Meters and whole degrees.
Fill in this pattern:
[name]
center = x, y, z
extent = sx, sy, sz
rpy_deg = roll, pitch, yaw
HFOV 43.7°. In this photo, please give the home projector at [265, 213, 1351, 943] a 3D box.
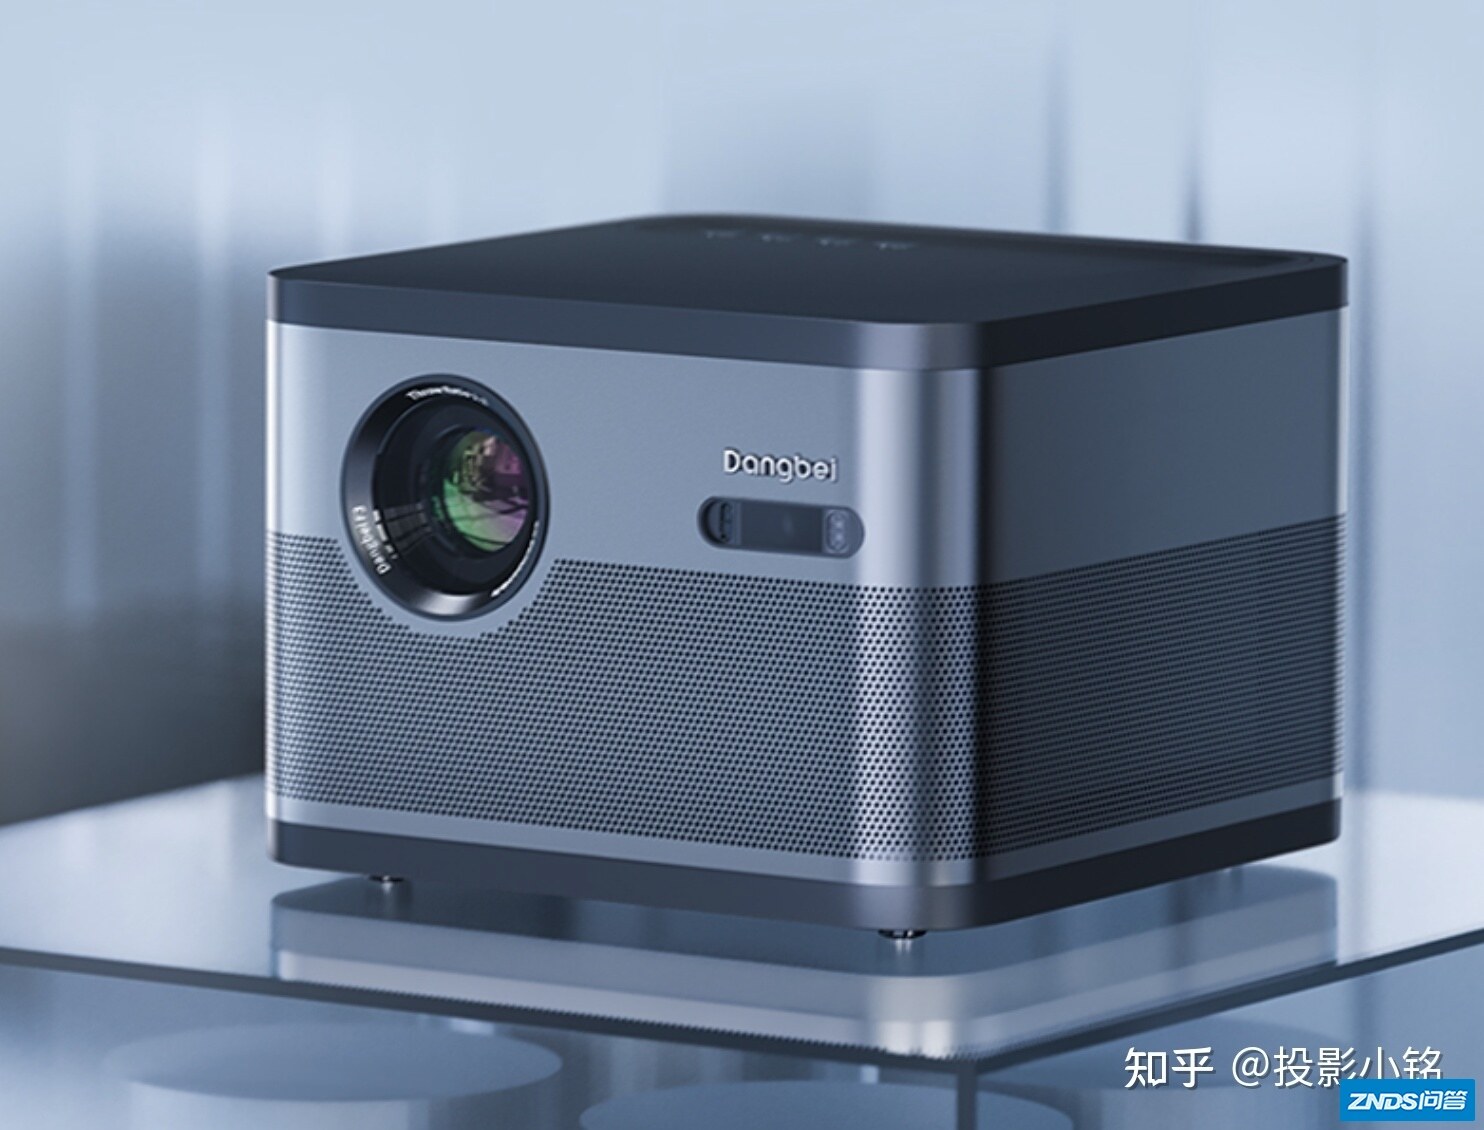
[home projector]
center = 0.015, -0.039, 1.107
extent = 0.621, 0.287, 0.601
rpy_deg = -5, 11, -34
